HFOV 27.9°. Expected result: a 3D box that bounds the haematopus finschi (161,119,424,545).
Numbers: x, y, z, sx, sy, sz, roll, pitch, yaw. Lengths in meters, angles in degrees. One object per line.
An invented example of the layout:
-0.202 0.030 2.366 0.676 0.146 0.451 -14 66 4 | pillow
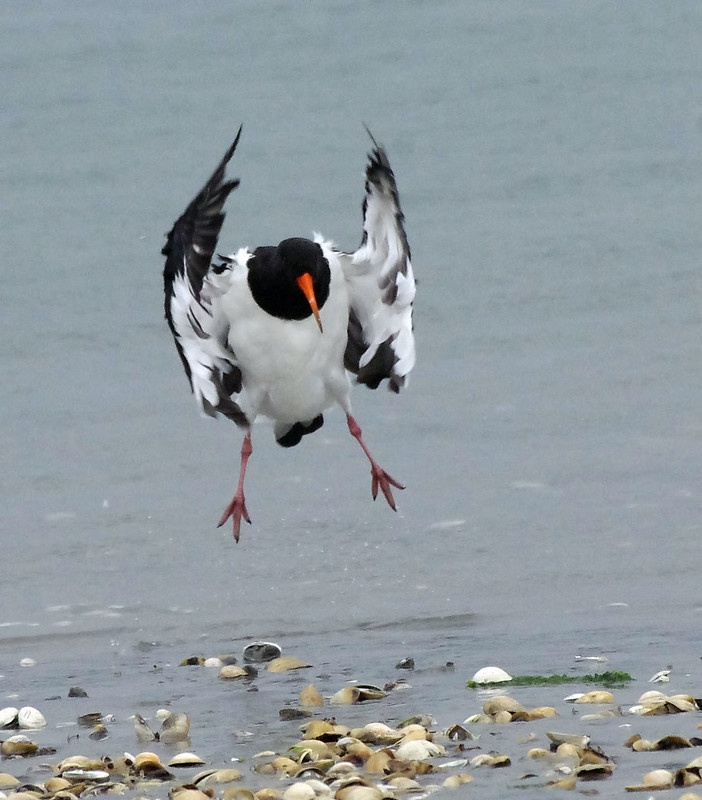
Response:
-0.317 -0.444 8.358 1.408 2.149 2.424 -1 15 1 | haematopus finschi
